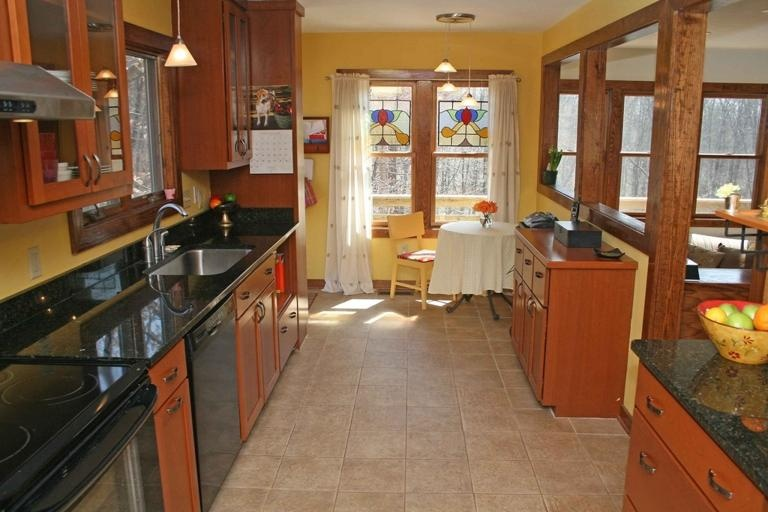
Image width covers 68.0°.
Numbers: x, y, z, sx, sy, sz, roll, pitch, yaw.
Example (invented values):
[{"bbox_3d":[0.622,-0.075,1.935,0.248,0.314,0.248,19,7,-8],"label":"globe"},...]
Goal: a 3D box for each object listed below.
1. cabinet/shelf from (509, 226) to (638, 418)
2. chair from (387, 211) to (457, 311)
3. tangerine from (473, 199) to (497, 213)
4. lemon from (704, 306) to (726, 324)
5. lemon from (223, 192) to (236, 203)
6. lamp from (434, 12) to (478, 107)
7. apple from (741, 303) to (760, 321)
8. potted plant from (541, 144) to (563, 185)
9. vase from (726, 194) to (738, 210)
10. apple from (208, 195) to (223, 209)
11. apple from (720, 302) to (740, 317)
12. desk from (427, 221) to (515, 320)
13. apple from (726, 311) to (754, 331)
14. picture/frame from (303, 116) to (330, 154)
[{"bbox_3d":[1.473,0.447,4.735,0.659,1.188,1.413,-1,14,3],"label":"cabinet/shelf"},{"bbox_3d":[0.432,0.025,6.386,0.711,0.952,0.709,-6,14,-18],"label":"chair"},{"bbox_3d":[1.033,-0.499,5.848,0.213,0.127,0.156,1,13,3],"label":"tangerine"},{"bbox_3d":[1.504,0.263,2.593,0.074,0.074,0.077,1,13,18],"label":"lemon"},{"bbox_3d":[-1.312,-0.496,4.900,0.098,0.082,0.085,0,-26,28],"label":"lemon"},{"bbox_3d":[0.732,-1.986,5.838,0.426,0.865,1.368,2,13,7],"label":"lamp"},{"bbox_3d":[1.664,0.255,2.587,0.042,0.041,0.049,13,45,2],"label":"apple"},{"bbox_3d":[1.850,-1.000,6.309,0.169,0.429,0.360,4,14,14],"label":"potted plant"},{"bbox_3d":[2.663,-0.413,4.357,0.071,0.117,0.220,8,15,28],"label":"vase"},{"bbox_3d":[-1.428,-0.455,4.811,0.093,0.109,0.092,24,32,17],"label":"apple"},{"bbox_3d":[1.600,0.241,2.643,0.065,0.077,0.065,-11,2,35],"label":"apple"},{"bbox_3d":[0.935,-0.015,5.903,0.945,0.869,1.012,-7,16,-24],"label":"desk"},{"bbox_3d":[1.581,0.290,2.530,0.079,0.091,0.079,20,2,40],"label":"apple"},{"bbox_3d":[-0.791,-1.401,6.566,0.416,0.406,0.024,8,14,33],"label":"picture/frame"}]
